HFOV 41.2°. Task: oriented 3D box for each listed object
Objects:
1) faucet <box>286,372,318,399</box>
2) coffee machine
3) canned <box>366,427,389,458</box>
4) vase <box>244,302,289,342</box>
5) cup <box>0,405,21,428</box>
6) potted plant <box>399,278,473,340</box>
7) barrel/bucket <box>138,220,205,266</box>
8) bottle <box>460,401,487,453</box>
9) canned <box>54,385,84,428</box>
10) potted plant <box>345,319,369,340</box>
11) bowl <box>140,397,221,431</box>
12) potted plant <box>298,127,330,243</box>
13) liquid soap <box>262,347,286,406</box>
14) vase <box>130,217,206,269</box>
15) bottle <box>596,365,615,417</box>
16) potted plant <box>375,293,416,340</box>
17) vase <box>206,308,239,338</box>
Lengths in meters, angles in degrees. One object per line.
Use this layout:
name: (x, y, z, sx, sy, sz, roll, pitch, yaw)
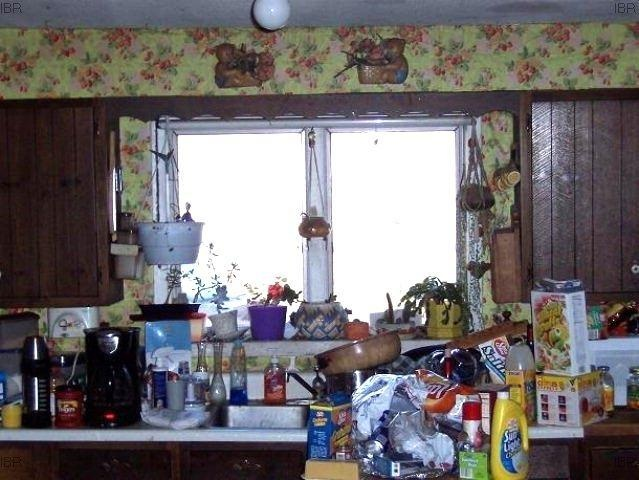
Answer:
faucet: (-0.081, 0.711, 4.169, 0.154, 0.138, 0.319, -3, -3, -3)
coffee machine: (-0.907, 0.610, 3.741, 0.303, 0.562, 0.366, 0, -8, -8)
canned: (0.238, 0.835, 3.480, 0.043, 0.044, 0.102, -41, 8, 33)
vase: (-0.262, 0.414, 4.305, 0.174, 0.146, 0.163, 1, -6, -8)
cup: (-1.353, 0.778, 3.738, 0.078, 0.084, 0.082, 1, -2, 0)
potted plant: (0.594, 0.328, 4.374, 0.296, 0.233, 0.303, -1, -1, -35)
barrel/bucket: (-0.722, 0.025, 4.125, 0.221, 0.153, 0.227, -1, -7, 0)
bottle: (0.624, 0.744, 3.428, 0.085, 0.193, 0.135, -4, -3, 24)
canned: (-1.097, 0.731, 3.731, 0.151, 0.230, 0.151, 1, -6, -11)
potted plant: (0.188, 0.454, 4.325, 0.091, 0.089, 0.096, 2, -8, -15)
bowl: (-0.622, 0.785, 3.806, 0.352, 0.113, 0.266, -3, -3, -8)
potted plant: (-0.032, -0.300, 4.441, 0.167, 0.596, 0.208, -2, -3, 1)
liquid soap: (-0.202, 0.632, 3.959, 0.110, 0.274, 0.081, 0, 20, -5)
vase: (-0.691, 0.010, 4.197, 0.345, 0.174, 0.367, -3, 2, 4)
bottle: (1.329, 0.695, 3.859, 0.121, 0.233, 0.124, 0, -12, 0)
potted plant: (0.413, 0.399, 4.451, 0.125, 0.151, 0.129, 2, 6, -6)
vase: (-0.487, 0.422, 4.319, 0.128, 0.113, 0.136, 1, -10, -25)
